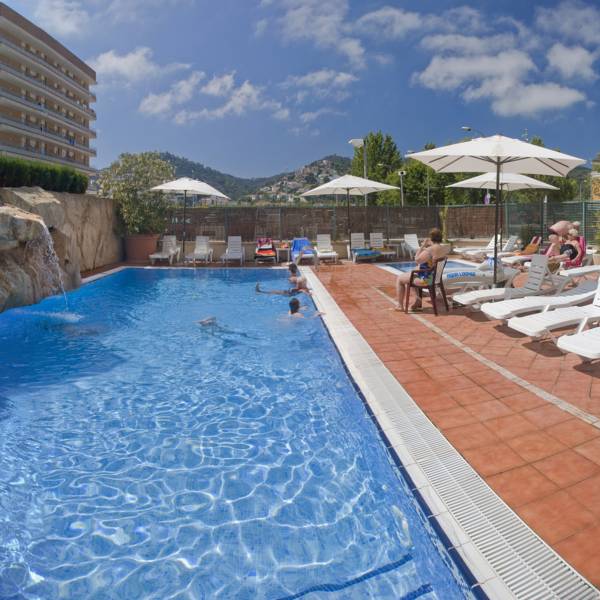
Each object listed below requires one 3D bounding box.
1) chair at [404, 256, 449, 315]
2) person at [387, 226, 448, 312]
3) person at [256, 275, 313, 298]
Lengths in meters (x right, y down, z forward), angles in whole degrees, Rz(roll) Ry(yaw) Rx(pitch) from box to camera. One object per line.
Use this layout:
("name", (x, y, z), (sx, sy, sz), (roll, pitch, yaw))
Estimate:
("chair", (2.697, -0.288, 8.768), (1.043, 1.476, 0.891), (3, 9, 27))
("person", (2.385, -0.549, 8.336), (0.763, 1.600, 0.987), (-5, 12, -11))
("person", (-0.518, -0.259, 10.805), (1.442, 0.543, 0.628), (-3, 0, 19))
